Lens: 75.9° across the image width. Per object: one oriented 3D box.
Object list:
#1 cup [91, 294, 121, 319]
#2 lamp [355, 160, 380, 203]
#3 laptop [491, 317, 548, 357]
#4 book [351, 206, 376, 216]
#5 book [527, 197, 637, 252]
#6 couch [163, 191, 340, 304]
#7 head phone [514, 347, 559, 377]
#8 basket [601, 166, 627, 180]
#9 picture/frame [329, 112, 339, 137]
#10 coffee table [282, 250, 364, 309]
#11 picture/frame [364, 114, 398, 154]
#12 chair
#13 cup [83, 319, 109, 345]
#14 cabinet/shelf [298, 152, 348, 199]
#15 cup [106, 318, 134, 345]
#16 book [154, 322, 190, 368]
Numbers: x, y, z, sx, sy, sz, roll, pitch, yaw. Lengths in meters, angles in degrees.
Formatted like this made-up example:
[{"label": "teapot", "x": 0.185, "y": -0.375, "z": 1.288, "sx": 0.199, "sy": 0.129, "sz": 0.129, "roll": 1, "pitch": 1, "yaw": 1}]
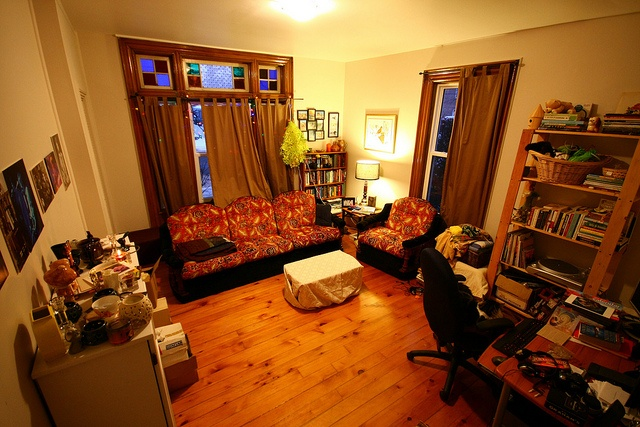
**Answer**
[{"label": "cup", "x": -1.836, "y": 0.798, "z": 3.564, "sx": 0.195, "sy": 0.136, "sz": 0.199, "roll": 2, "pitch": 22, "yaw": -1}, {"label": "lamp", "x": 0.837, "y": -0.546, "z": 7.196, "sx": 0.393, "sy": 0.788, "sz": 0.455, "roll": 0, "pitch": 20, "yaw": 7}, {"label": "laptop", "x": 1.922, "y": 1.193, "z": 3.965, "sx": 0.703, "sy": 0.100, "sz": 0.224, "roll": -23, "pitch": 34, "yaw": -32}, {"label": "book", "x": 0.760, "y": -0.060, "z": 7.033, "sx": 0.216, "sy": 0.052, "sz": 0.218, "roll": -12, "pitch": 22, "yaw": -34}, {"label": "book", "x": 2.832, "y": 0.030, "z": 4.693, "sx": 0.796, "sy": 0.451, "sz": 0.317, "roll": 15, "pitch": 27, "yaw": 39}, {"label": "couch", "x": -0.925, "y": 0.382, "z": 6.182, "sx": 2.711, "sy": 1.037, "sz": 0.927, "roll": -12, "pitch": 25, "yaw": -30}, {"label": "head phone", "x": 1.962, "y": 1.368, "z": 3.722, "sx": 0.356, "sy": 0.134, "sz": 0.238, "roll": 1, "pitch": 20, "yaw": 8}, {"label": "basket", "x": 3.101, "y": -0.432, "z": 4.336, "sx": 0.139, "sy": 0.058, "sz": 0.157, "roll": 1, "pitch": 12, "yaw": -4}, {"label": "picture/frame", "x": 0.252, "y": -1.703, "z": 7.824, "sx": 0.245, "sy": 0.479, "sz": 0.039, "roll": -16, "pitch": 25, "yaw": -33}, {"label": "coffee table", "x": 0.067, "y": 0.857, "z": 5.490, "sx": 0.865, "sy": 0.404, "sz": 0.618, "roll": -14, "pitch": 25, "yaw": -34}, {"label": "picture/frame", "x": 1.060, "y": -1.389, "z": 7.005, "sx": 0.046, "sy": 0.580, "sz": 0.652, "roll": -11, "pitch": 22, "yaw": -34}, {"label": "chair", "x": 1.501, "y": 1.095, "z": 4.424, "sx": 1.049, "sy": 1.617, "sz": 1.006, "roll": 3, "pitch": 25, "yaw": 14}, {"label": "cup", "x": -1.878, "y": 0.983, "z": 3.443, "sx": 0.201, "sy": 0.135, "sz": 0.176, "roll": -6, "pitch": 9, "yaw": -40}, {"label": "cabinet/shelf", "x": 0.010, "y": -0.750, "z": 7.602, "sx": 0.960, "sy": 0.879, "sz": 0.272, "roll": 1, "pitch": 2, "yaw": -41}, {"label": "cup", "x": -1.675, "y": 0.995, "z": 3.442, "sx": 0.202, "sy": 0.175, "sz": 0.195, "roll": 2, "pitch": 11, "yaw": 0}, {"label": "book", "x": -1.539, "y": 1.384, "z": 4.312, "sx": 0.417, "sy": 0.268, "sz": 0.421, "roll": -5, "pitch": 53, "yaw": -25}]
